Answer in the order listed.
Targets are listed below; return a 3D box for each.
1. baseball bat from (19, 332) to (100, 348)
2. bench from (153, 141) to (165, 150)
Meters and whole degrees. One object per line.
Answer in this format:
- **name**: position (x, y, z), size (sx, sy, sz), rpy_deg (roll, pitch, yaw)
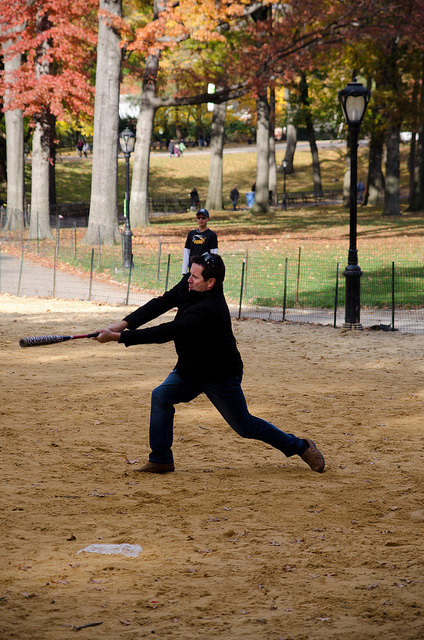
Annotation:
- **baseball bat**: position (-1.763, 0.217, 11.553), size (1.084, 0.138, 0.173), rpy_deg (-5, -6, -9)
- **bench**: position (-4.571, -15.174, 87.449), size (0.873, 0.569, 1.733), rpy_deg (0, 9, -3)
